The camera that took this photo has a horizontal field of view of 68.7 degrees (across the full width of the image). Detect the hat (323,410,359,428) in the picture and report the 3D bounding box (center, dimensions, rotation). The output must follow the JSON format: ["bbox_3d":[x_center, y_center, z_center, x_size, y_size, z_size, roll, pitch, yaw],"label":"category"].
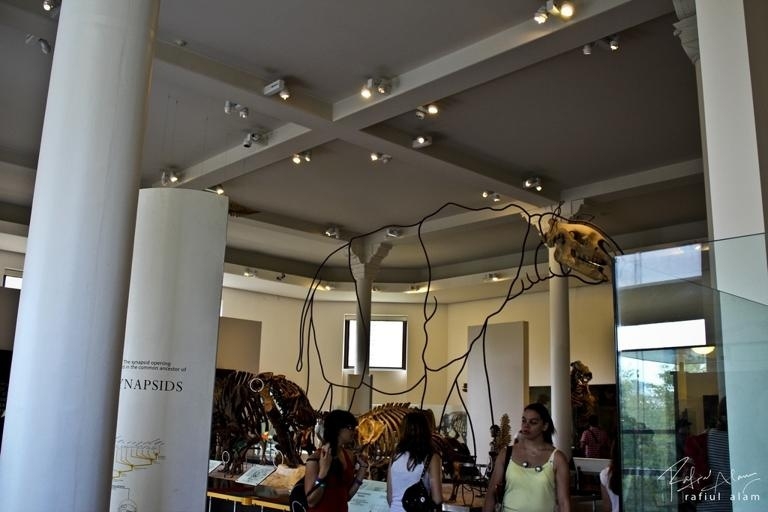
[{"bbox_3d":[-0.319,1.205,4.174,0.226,0.191,0.170,-5,-3,-11],"label":"hat"}]

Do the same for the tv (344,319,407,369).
[{"bbox_3d":[-0.237,2.867,18.304,1.956,1.645,0.515,0,-16,8],"label":"tv"}]

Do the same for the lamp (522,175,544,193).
[{"bbox_3d":[2.590,-1.244,9.768,0.282,0.221,0.435,-6,-18,25],"label":"lamp"}]

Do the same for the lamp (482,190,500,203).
[{"bbox_3d":[1.988,-1.077,10.335,0.246,0.229,0.216,14,-30,-34],"label":"lamp"}]

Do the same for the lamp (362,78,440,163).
[{"bbox_3d":[0.114,-1.832,7.514,0.731,0.807,0.212,11,9,25],"label":"lamp"}]

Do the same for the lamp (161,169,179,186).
[{"bbox_3d":[-3.851,-1.419,10.081,0.344,0.351,0.236,-13,-12,39],"label":"lamp"}]

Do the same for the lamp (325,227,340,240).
[{"bbox_3d":[-1.148,-0.497,12.760,0.250,0.275,0.280,4,-11,-5],"label":"lamp"}]
